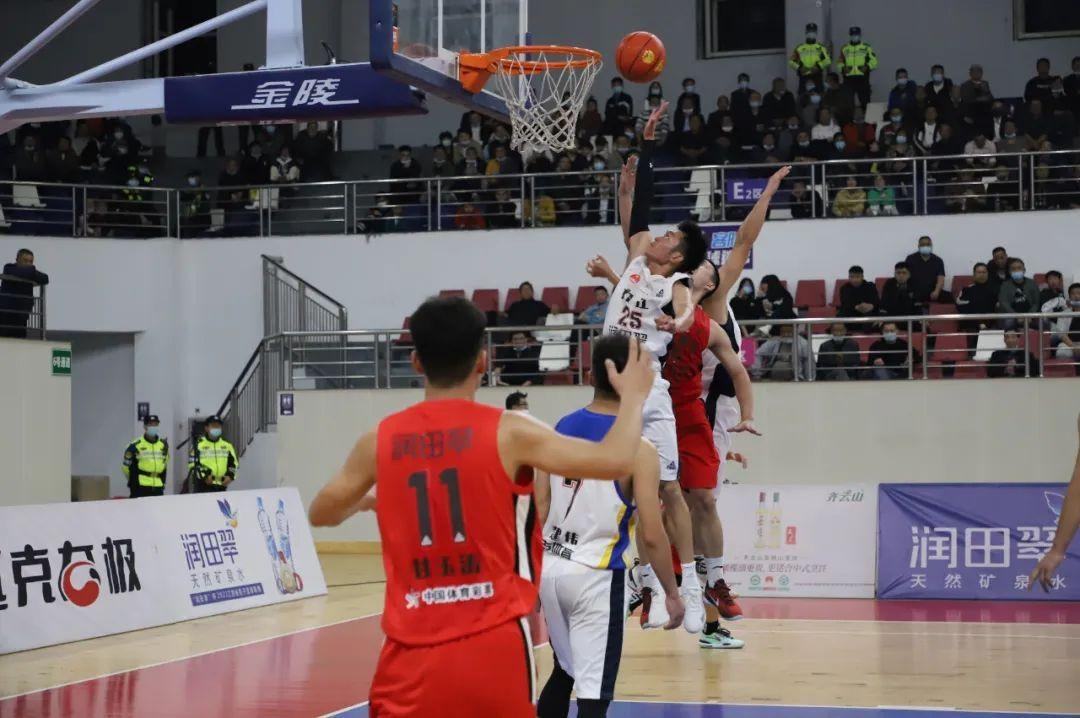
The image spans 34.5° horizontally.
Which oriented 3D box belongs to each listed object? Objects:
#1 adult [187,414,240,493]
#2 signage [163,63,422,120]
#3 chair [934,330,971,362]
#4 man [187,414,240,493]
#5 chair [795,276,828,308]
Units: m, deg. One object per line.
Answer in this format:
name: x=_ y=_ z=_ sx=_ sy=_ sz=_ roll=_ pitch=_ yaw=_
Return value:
adult: x=-5.409 y=1.954 z=28.489 sx=0.819 sy=1.920 sz=0.567 roll=2 pitch=0 yaw=-25
signage: x=-3.100 y=-3.438 z=22.807 sx=2.726 sy=0.719 sz=0.460 roll=5 pitch=14 yaw=39
chair: x=6.498 y=-0.170 z=27.455 sx=0.574 sy=0.439 sz=1.020 roll=-2 pitch=2 yaw=13
man: x=-5.415 y=1.951 z=28.493 sx=0.813 sy=1.922 sz=0.554 roll=2 pitch=-1 yaw=-22
chair: x=4.588 y=-1.088 z=29.414 sx=0.539 sy=0.462 sz=0.253 roll=-2 pitch=2 yaw=7
